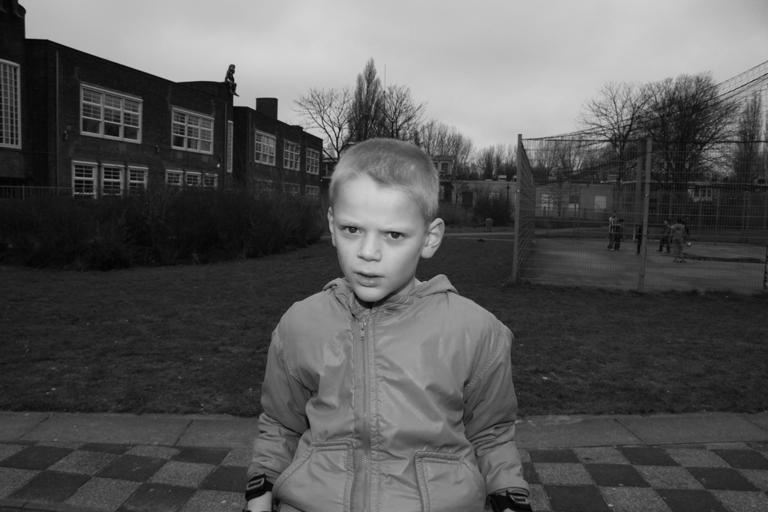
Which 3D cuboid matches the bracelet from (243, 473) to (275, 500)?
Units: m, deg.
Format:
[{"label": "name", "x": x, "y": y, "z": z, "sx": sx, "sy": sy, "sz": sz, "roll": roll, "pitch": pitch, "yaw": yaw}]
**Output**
[{"label": "bracelet", "x": -0.579, "y": 1.054, "z": 2.480, "sx": 0.131, "sy": 0.137, "sz": 0.088, "roll": 1, "pitch": 45, "yaw": -19}]
